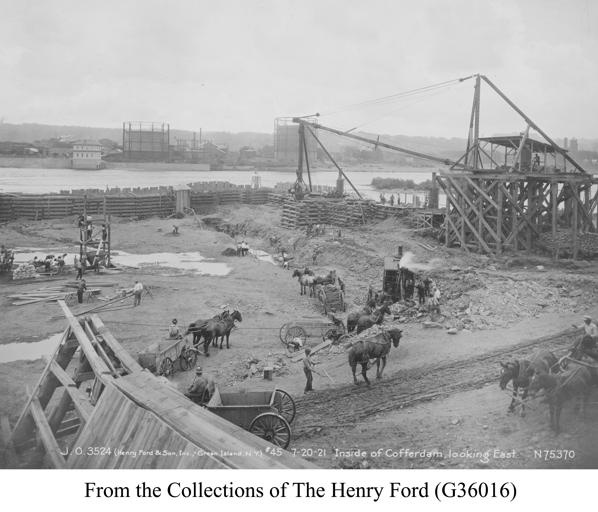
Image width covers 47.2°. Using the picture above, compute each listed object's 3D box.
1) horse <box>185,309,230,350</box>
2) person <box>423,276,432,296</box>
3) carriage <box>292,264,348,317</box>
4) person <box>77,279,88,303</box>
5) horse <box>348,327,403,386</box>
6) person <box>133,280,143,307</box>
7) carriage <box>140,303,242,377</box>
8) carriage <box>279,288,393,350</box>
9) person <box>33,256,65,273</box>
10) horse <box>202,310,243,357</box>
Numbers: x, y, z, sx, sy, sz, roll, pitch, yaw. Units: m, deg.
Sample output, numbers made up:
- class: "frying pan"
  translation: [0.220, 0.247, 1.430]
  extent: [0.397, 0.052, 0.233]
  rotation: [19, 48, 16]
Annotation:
- class: "horse"
  translation: [-3.132, 2.521, 23.104]
  extent: [0.385, 1.161, 1.775]
  rotation: [15, 29, 32]
- class: "person"
  translation: [4.813, 1.251, 25.686]
  extent: [0.318, 0.743, 0.712]
  rotation: [-5, 11, 11]
- class: "carriage"
  translation: [1.003, 1.526, 28.341]
  extent: [0.877, 1.131, 3.492]
  rotation: [-3, 17, -12]
- class: "person"
  translation: [-8.452, 1.301, 26.294]
  extent: [0.371, 0.797, 1.772]
  rotation: [-10, 11, -15]
- class: "horse"
  translation: [2.233, 2.903, 20.021]
  extent: [2.044, 1.372, 0.554]
  rotation: [-7, 9, -38]
- class: "person"
  translation: [-6.222, 1.475, 26.174]
  extent: [0.458, 1.267, 0.413]
  rotation: [-13, 57, -27]
- class: "carriage"
  translation: [-3.388, 2.811, 22.037]
  extent: [0.997, 1.224, 3.491]
  rotation: [17, 29, 42]
- class: "carriage"
  translation: [1.298, 2.541, 23.811]
  extent: [3.947, 1.849, 1.661]
  rotation: [-9, 15, -1]
- class: "person"
  translation: [-10.778, 0.388, 29.214]
  extent: [0.986, 0.435, 0.774]
  rotation: [-3, 6, -29]
- class: "horse"
  translation: [-2.628, 2.523, 22.927]
  extent: [0.408, 1.267, 1.662]
  rotation: [20, 21, 40]
